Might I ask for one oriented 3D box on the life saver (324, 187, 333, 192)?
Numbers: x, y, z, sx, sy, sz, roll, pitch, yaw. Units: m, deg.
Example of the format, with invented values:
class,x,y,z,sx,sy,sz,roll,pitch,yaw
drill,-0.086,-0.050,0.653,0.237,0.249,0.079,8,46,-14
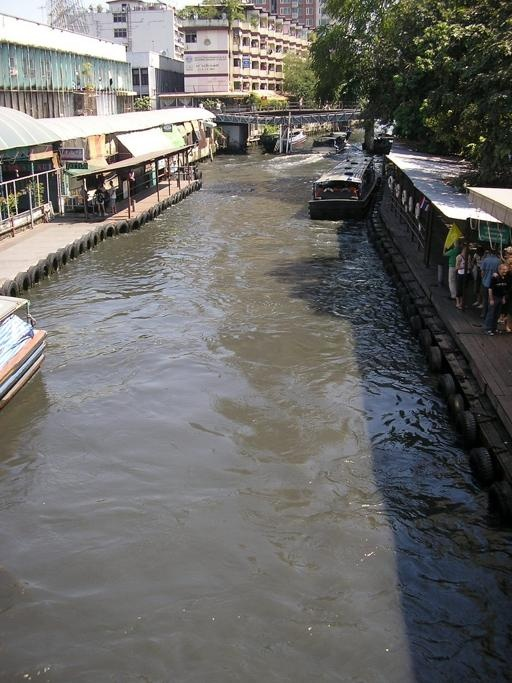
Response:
class,x,y,z,sx,sy,sz,roll,pitch,yaw
life saver,3.915,-8.077,31.153,0.279,0.257,0.106,-1,-1,7
